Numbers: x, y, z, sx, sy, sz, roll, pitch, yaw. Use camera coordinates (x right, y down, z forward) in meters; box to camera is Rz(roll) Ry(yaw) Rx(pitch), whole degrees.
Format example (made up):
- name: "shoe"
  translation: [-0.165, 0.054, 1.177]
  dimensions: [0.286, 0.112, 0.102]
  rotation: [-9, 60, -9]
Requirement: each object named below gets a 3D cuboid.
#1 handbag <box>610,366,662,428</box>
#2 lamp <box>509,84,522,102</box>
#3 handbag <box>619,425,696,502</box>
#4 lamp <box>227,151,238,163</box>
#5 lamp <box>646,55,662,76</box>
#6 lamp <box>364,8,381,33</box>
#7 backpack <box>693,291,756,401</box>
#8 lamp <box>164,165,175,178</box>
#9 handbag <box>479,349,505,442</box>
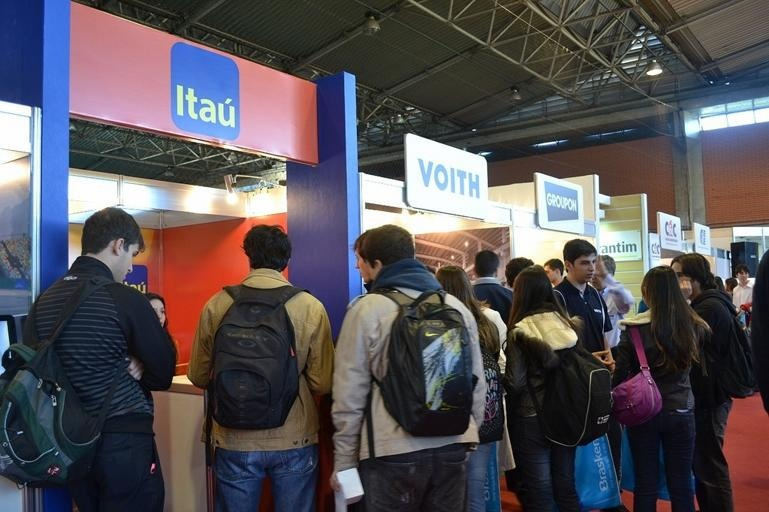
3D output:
- name: "handbag"
  translation: [1.441, 0.797, 3.508]
  dimensions: [0.227, 0.306, 0.164]
  rotation: [-30, -19, 25]
- name: "lamp"
  translation: [2.921, -3.703, 13.951]
  dimensions: [0.194, 0.373, 0.242]
  rotation: [0, 3, 25]
- name: "handbag"
  translation: [1.601, 1.202, 3.607]
  dimensions: [0.416, 0.562, 0.306]
  rotation: [10, -20, -34]
- name: "lamp"
  translation: [-3.640, -2.341, 14.636]
  dimensions: [0.200, 0.202, 0.062]
  rotation: [10, 28, 4]
- name: "lamp"
  translation: [5.478, -3.886, 12.514]
  dimensions: [0.275, 0.313, 0.281]
  rotation: [3, 3, 26]
- name: "lamp"
  translation: [-0.191, -3.687, 9.819]
  dimensions: [0.229, 0.325, 0.571]
  rotation: [-1, 1, 3]
- name: "backpack"
  translation: [2.137, 0.545, 3.880]
  dimensions: [0.422, 0.588, 0.206]
  rotation: [-1, 0, -1]
- name: "lamp"
  translation: [-5.648, -2.220, 16.206]
  dimensions: [0.244, 0.285, 0.244]
  rotation: [5, -6, -31]
- name: "handbag"
  translation: [0.585, 0.772, 3.399]
  dimensions: [0.087, 0.482, 0.203]
  rotation: [-1, 0, 33]
